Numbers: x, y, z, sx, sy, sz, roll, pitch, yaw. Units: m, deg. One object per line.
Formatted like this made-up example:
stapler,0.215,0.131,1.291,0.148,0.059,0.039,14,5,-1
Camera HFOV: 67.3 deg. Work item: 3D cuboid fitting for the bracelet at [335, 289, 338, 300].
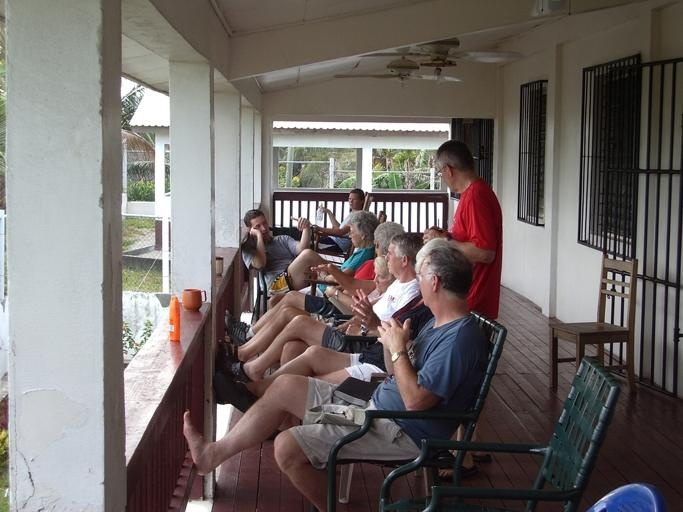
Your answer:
bracelet,-0.044,0.316,4.188,0.017,0.052,0.049,-1,6,-4

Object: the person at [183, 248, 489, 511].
person,0.123,0.564,2.897,1.584,1.638,0.852,1,1,0

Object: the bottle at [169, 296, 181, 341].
bottle,-0.883,0.327,2.708,0.058,0.204,0.193,-3,8,-19

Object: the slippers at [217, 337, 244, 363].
slippers,-0.682,0.548,3.088,0.142,0.118,0.104,19,12,37

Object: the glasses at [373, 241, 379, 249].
glasses,0.284,-0.090,4.256,0.034,0.054,0.042,10,15,39

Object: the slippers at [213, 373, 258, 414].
slippers,-0.628,0.789,3.064,0.240,0.147,0.199,25,-3,3

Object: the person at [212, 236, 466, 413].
person,-0.131,0.277,3.281,1.069,1.259,0.494,14,20,-12

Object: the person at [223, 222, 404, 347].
person,-0.374,0.259,4.019,1.069,1.025,0.452,-2,-1,-35

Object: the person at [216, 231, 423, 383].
person,-0.290,0.133,3.196,1.119,0.784,0.546,-26,12,-14

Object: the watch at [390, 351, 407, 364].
watch,0.246,0.436,2.241,0.054,0.057,0.044,-36,25,10

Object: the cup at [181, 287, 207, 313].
cup,-0.889,0.258,3.101,0.134,0.122,0.113,1,-5,-3
